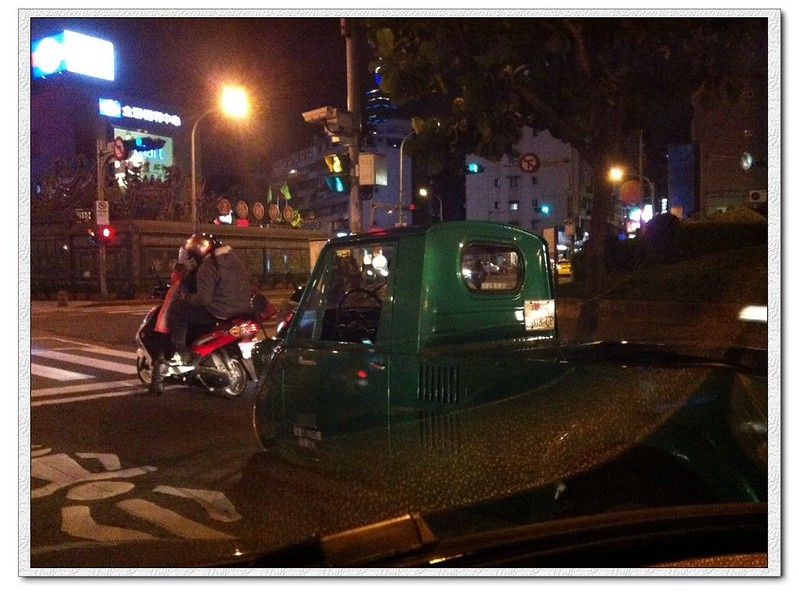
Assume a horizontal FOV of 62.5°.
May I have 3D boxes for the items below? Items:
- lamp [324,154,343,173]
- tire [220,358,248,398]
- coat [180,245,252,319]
[{"bbox_3d":[-1.305,-2.642,13.021,0.325,0.395,0.360,-3,5,-13],"label":"lamp"},{"bbox_3d":[-2.359,1.127,9.325,0.194,0.636,0.527,3,4,45],"label":"tire"},{"bbox_3d":[-2.539,-0.231,9.520,0.842,1.229,1.262,9,11,38],"label":"coat"}]
